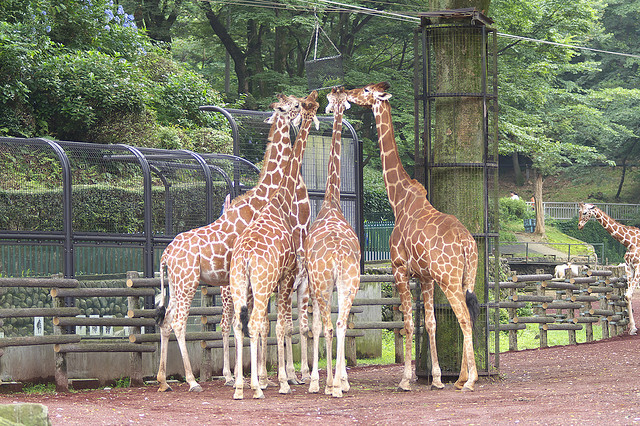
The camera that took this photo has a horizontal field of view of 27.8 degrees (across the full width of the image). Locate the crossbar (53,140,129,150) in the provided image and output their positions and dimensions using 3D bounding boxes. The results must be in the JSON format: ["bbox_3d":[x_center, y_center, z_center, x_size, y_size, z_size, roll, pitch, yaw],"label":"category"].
[{"bbox_3d":[-5.978,-1.798,33.861,1.795,0.332,0.642,-3,-2,-9],"label":"crossbar"}]

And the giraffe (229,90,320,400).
[{"bbox_3d":[-1.241,0.811,32.159,0.871,7.330,2.277,-5,-2,43],"label":"giraffe"}]
